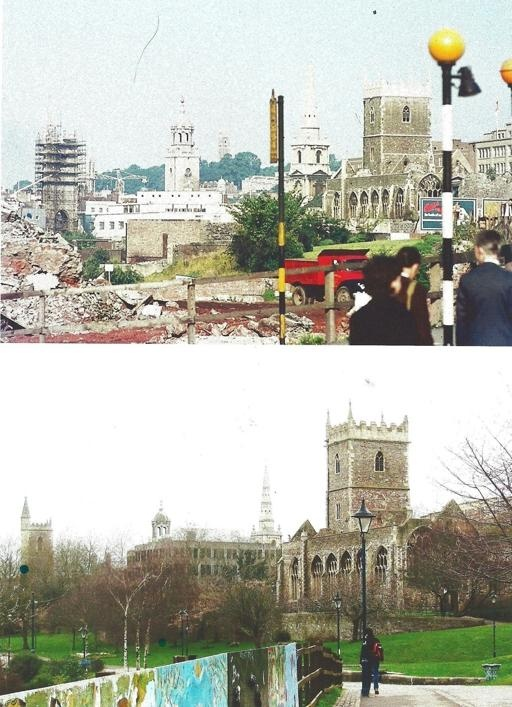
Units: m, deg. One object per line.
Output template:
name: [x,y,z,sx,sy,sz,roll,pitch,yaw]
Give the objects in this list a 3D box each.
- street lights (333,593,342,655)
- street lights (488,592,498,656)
street lights: [0.500,1.681,11.628,0.039,0.320,0.082,-1,0,3]
street lights: [1.464,1.686,11.660,0.039,0.358,0.214,-1,0,7]
